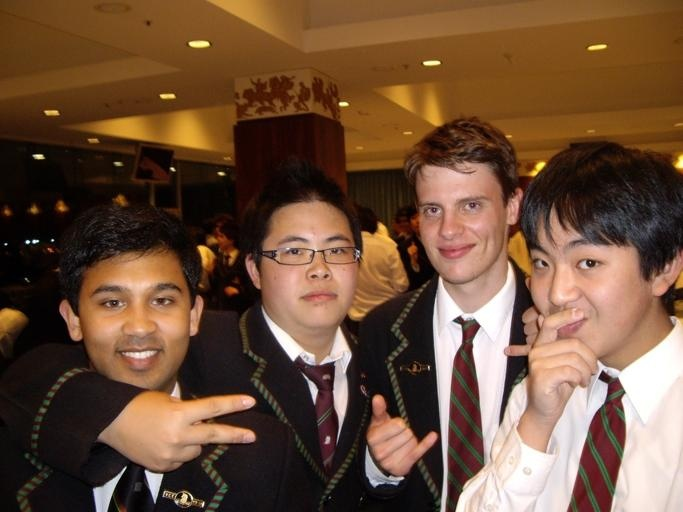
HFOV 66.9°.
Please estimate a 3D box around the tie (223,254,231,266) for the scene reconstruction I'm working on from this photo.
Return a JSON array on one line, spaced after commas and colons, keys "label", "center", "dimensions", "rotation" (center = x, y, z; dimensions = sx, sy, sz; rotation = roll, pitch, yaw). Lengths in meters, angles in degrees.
[{"label": "tie", "center": [-1.264, 0.046, 6.135], "dimensions": [0.105, 0.110, 0.026], "rotation": [-4, -13, 32]}]
